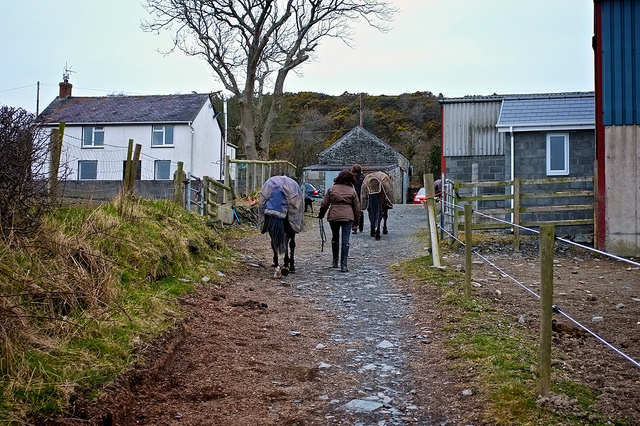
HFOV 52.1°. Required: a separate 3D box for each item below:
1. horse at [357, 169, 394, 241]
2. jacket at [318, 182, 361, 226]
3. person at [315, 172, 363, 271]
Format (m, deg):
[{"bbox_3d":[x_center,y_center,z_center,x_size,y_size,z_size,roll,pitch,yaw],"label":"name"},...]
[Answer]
[{"bbox_3d":[1.537,-0.166,17.732,0.889,1.816,1.300,0,14,6],"label":"horse"},{"bbox_3d":[0.492,-0.134,13.654,1.007,1.168,0.675,2,-21,0],"label":"jacket"},{"bbox_3d":[0.429,0.156,13.679,0.797,2.064,1.176,4,14,20],"label":"person"}]
